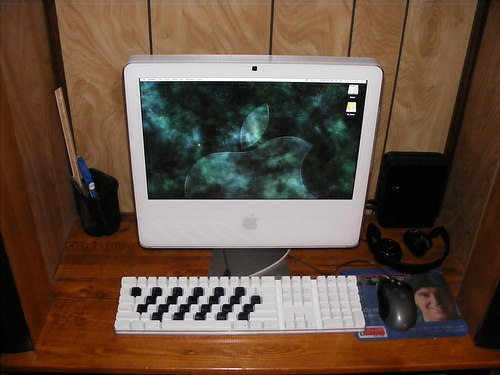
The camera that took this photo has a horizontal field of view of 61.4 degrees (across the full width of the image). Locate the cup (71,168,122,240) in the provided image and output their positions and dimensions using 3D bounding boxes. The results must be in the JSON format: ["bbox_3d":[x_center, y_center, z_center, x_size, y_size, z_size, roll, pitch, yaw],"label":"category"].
[{"bbox_3d":[-0.483,0.050,1.319,0.152,0.187,0.134,-6,34,-14],"label":"cup"}]

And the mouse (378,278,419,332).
[{"bbox_3d":[0.392,0.303,1.103,0.083,0.041,0.131,5,51,-2],"label":"mouse"}]

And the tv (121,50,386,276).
[{"bbox_3d":[0.004,-0.076,1.132,0.585,0.561,0.209,1,30,-2],"label":"tv"}]
